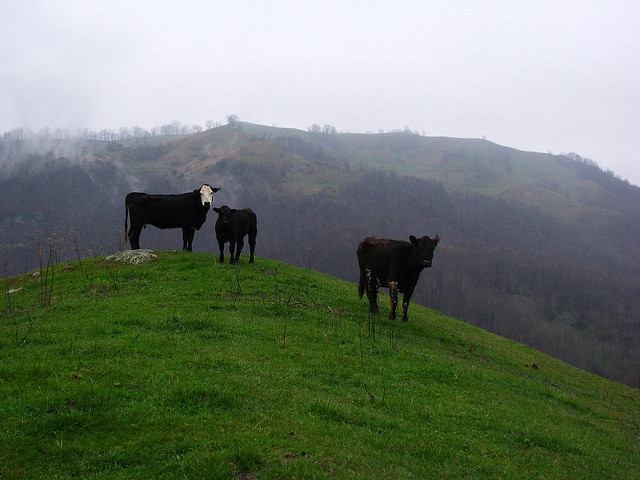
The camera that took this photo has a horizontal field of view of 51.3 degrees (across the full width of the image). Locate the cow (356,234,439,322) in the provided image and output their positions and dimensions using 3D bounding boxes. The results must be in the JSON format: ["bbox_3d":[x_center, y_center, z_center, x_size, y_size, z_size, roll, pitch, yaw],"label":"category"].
[{"bbox_3d":[4.548,2.068,43.066,2.609,5.865,5.763,-3,14,-38],"label":"cow"}]
